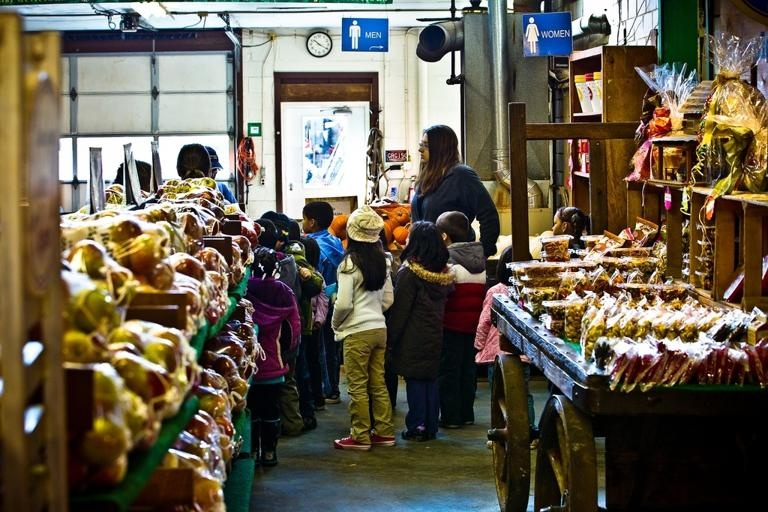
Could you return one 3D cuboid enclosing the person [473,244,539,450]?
[{"bbox_3d":[0.736,0.455,4.849,0.339,1.044,0.324,-21,34,-31],"label":"person"}]

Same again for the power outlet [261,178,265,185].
[{"bbox_3d":[-1.944,-1.193,11.530,0.073,0.152,0.077,2,4,-6],"label":"power outlet"}]

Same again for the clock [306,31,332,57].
[{"bbox_3d":[-1.045,-3.366,11.340,0.342,0.388,0.113,0,12,-4],"label":"clock"}]

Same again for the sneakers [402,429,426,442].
[{"bbox_3d":[0.201,1.195,4.773,0.065,0.082,0.178,-2,6,-28],"label":"sneakers"}]

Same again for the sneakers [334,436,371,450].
[{"bbox_3d":[-0.208,1.213,4.672,0.233,0.112,0.091,5,-2,14],"label":"sneakers"}]

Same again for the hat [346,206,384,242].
[{"bbox_3d":[-0.125,-0.203,4.610,0.212,0.233,0.199,-1,3,-3],"label":"hat"}]

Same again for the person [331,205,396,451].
[{"bbox_3d":[-0.116,0.457,4.690,0.448,1.560,0.317,-1,2,-18],"label":"person"}]

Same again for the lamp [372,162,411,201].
[{"bbox_3d":[0.175,-1.047,10.782,0.348,0.556,0.373,-1,16,22],"label":"lamp"}]

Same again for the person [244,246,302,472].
[{"bbox_3d":[-0.663,0.605,4.229,0.269,1.305,0.597,-1,2,4],"label":"person"}]
